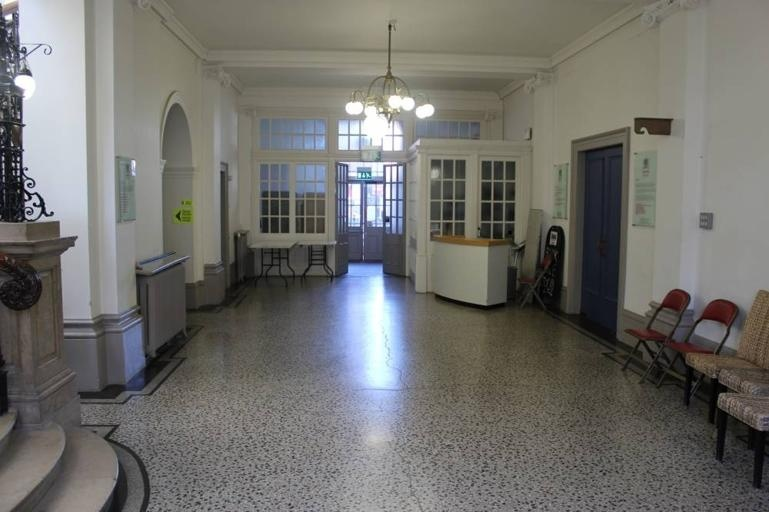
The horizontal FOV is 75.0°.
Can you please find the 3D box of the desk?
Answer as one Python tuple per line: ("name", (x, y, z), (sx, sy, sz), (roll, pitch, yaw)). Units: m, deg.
("desk", (-2.136, 0.065, 12.101), (1.965, 0.952, 1.017), (-3, 11, -14))
